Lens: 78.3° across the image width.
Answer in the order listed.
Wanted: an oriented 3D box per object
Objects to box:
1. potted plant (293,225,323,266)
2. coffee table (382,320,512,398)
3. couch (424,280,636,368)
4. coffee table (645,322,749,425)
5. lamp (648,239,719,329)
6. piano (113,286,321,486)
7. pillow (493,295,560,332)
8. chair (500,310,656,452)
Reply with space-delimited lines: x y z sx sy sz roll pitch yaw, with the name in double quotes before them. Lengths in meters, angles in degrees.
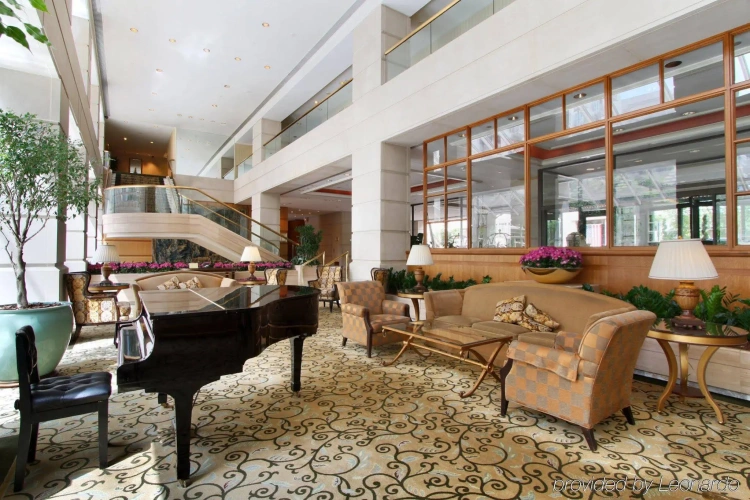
"potted plant" -2.222 -0.180 14.908 0.862 1.238 1.622 -2 1 -10
"coffee table" 1.065 1.478 6.513 1.093 0.771 1.804 -2 1 -33
"couch" 1.928 0.783 6.876 1.217 1.255 3.448 7 -7 -34
"coffee table" 3.710 1.298 5.650 1.346 0.928 1.214 -4 5 -44
"lamp" 3.681 0.398 5.558 0.560 1.053 0.406 -2 1 -17
"piano" -1.719 1.349 5.240 2.281 1.091 1.927 2 -4 -29
"pillow" 2.189 0.920 6.749 0.589 0.160 0.634 9 -1 -41
"chair" 2.437 1.390 5.761 1.629 1.536 1.711 1 -2 -36
